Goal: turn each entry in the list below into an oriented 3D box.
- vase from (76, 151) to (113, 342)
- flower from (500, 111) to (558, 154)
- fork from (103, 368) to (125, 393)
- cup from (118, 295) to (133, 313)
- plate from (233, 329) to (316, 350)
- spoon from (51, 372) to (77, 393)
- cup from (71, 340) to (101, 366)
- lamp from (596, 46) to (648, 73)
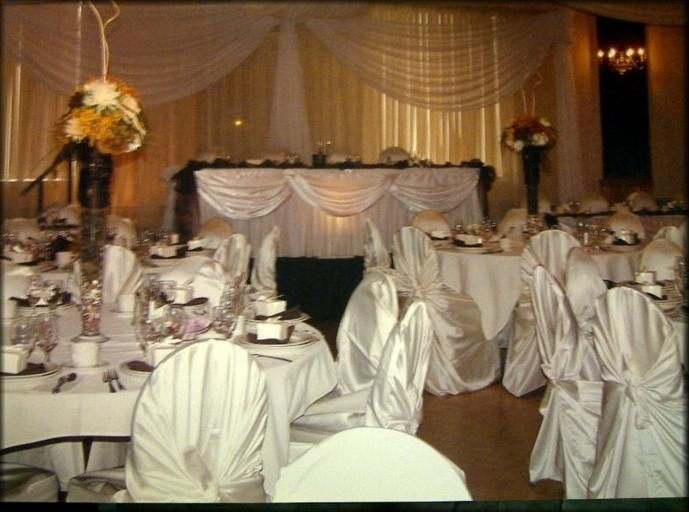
[{"bbox_3d":[-1.326,-0.059,3.610,0.161,0.987,0.288,2,13,-21],"label":"vase"},{"bbox_3d":[1.706,-1.166,6.366,0.485,0.369,0.485,7,-6,-5],"label":"flower"},{"bbox_3d":[-1.080,0.583,3.207,0.054,0.028,0.233,-4,19,-15],"label":"fork"},{"bbox_3d":[-1.312,0.284,4.116,0.104,0.079,0.077,5,-6,-29],"label":"cup"},{"bbox_3d":[-0.356,0.443,3.639,0.439,0.067,0.241,4,12,-19],"label":"plate"},{"bbox_3d":[-1.297,0.580,3.178,0.071,0.042,0.176,10,12,7],"label":"spoon"},{"bbox_3d":[-1.247,0.464,3.311,0.103,0.096,0.123,0,-10,0],"label":"cup"},{"bbox_3d":[4.241,-2.975,10.505,0.683,0.401,0.706,0,8,12],"label":"lamp"}]
